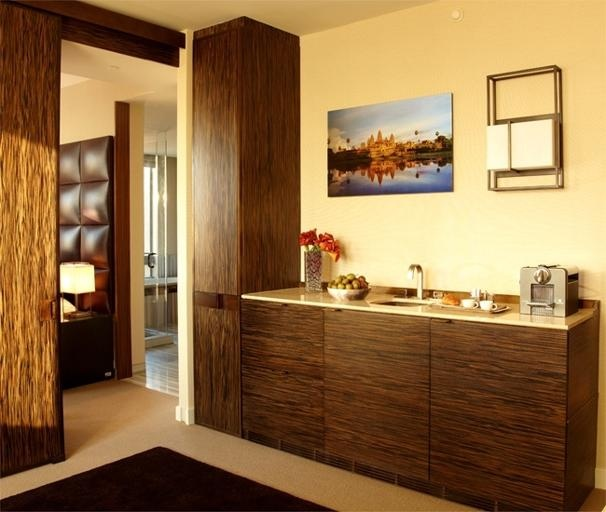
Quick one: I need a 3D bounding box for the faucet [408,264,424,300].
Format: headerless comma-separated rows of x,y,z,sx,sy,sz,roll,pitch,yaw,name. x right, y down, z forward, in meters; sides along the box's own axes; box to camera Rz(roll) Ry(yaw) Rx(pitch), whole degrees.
0.738,0.171,3.209,0.084,0.237,0.368,0,3,16,faucet

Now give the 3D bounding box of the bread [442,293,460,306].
0.886,0.257,2.928,0.065,0.025,0.075,7,13,31,bread

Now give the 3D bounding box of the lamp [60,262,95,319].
-2.256,0.332,4.966,0.323,0.518,0.520,-2,3,-25,lamp

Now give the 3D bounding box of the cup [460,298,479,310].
0.942,0.271,2.803,0.059,0.039,0.083,-2,3,-43,cup

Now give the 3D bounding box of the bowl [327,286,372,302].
0.303,0.249,3.274,0.268,0.088,0.139,0,3,5,bowl

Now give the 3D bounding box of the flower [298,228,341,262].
0.135,-0.072,3.649,0.290,0.228,0.281,0,3,4,flower

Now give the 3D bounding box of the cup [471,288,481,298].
1.031,0.227,2.966,0.057,0.061,0.043,0,0,-3,cup

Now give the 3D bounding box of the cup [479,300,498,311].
1.023,0.278,2.745,0.093,0.046,0.127,1,4,30,cup
